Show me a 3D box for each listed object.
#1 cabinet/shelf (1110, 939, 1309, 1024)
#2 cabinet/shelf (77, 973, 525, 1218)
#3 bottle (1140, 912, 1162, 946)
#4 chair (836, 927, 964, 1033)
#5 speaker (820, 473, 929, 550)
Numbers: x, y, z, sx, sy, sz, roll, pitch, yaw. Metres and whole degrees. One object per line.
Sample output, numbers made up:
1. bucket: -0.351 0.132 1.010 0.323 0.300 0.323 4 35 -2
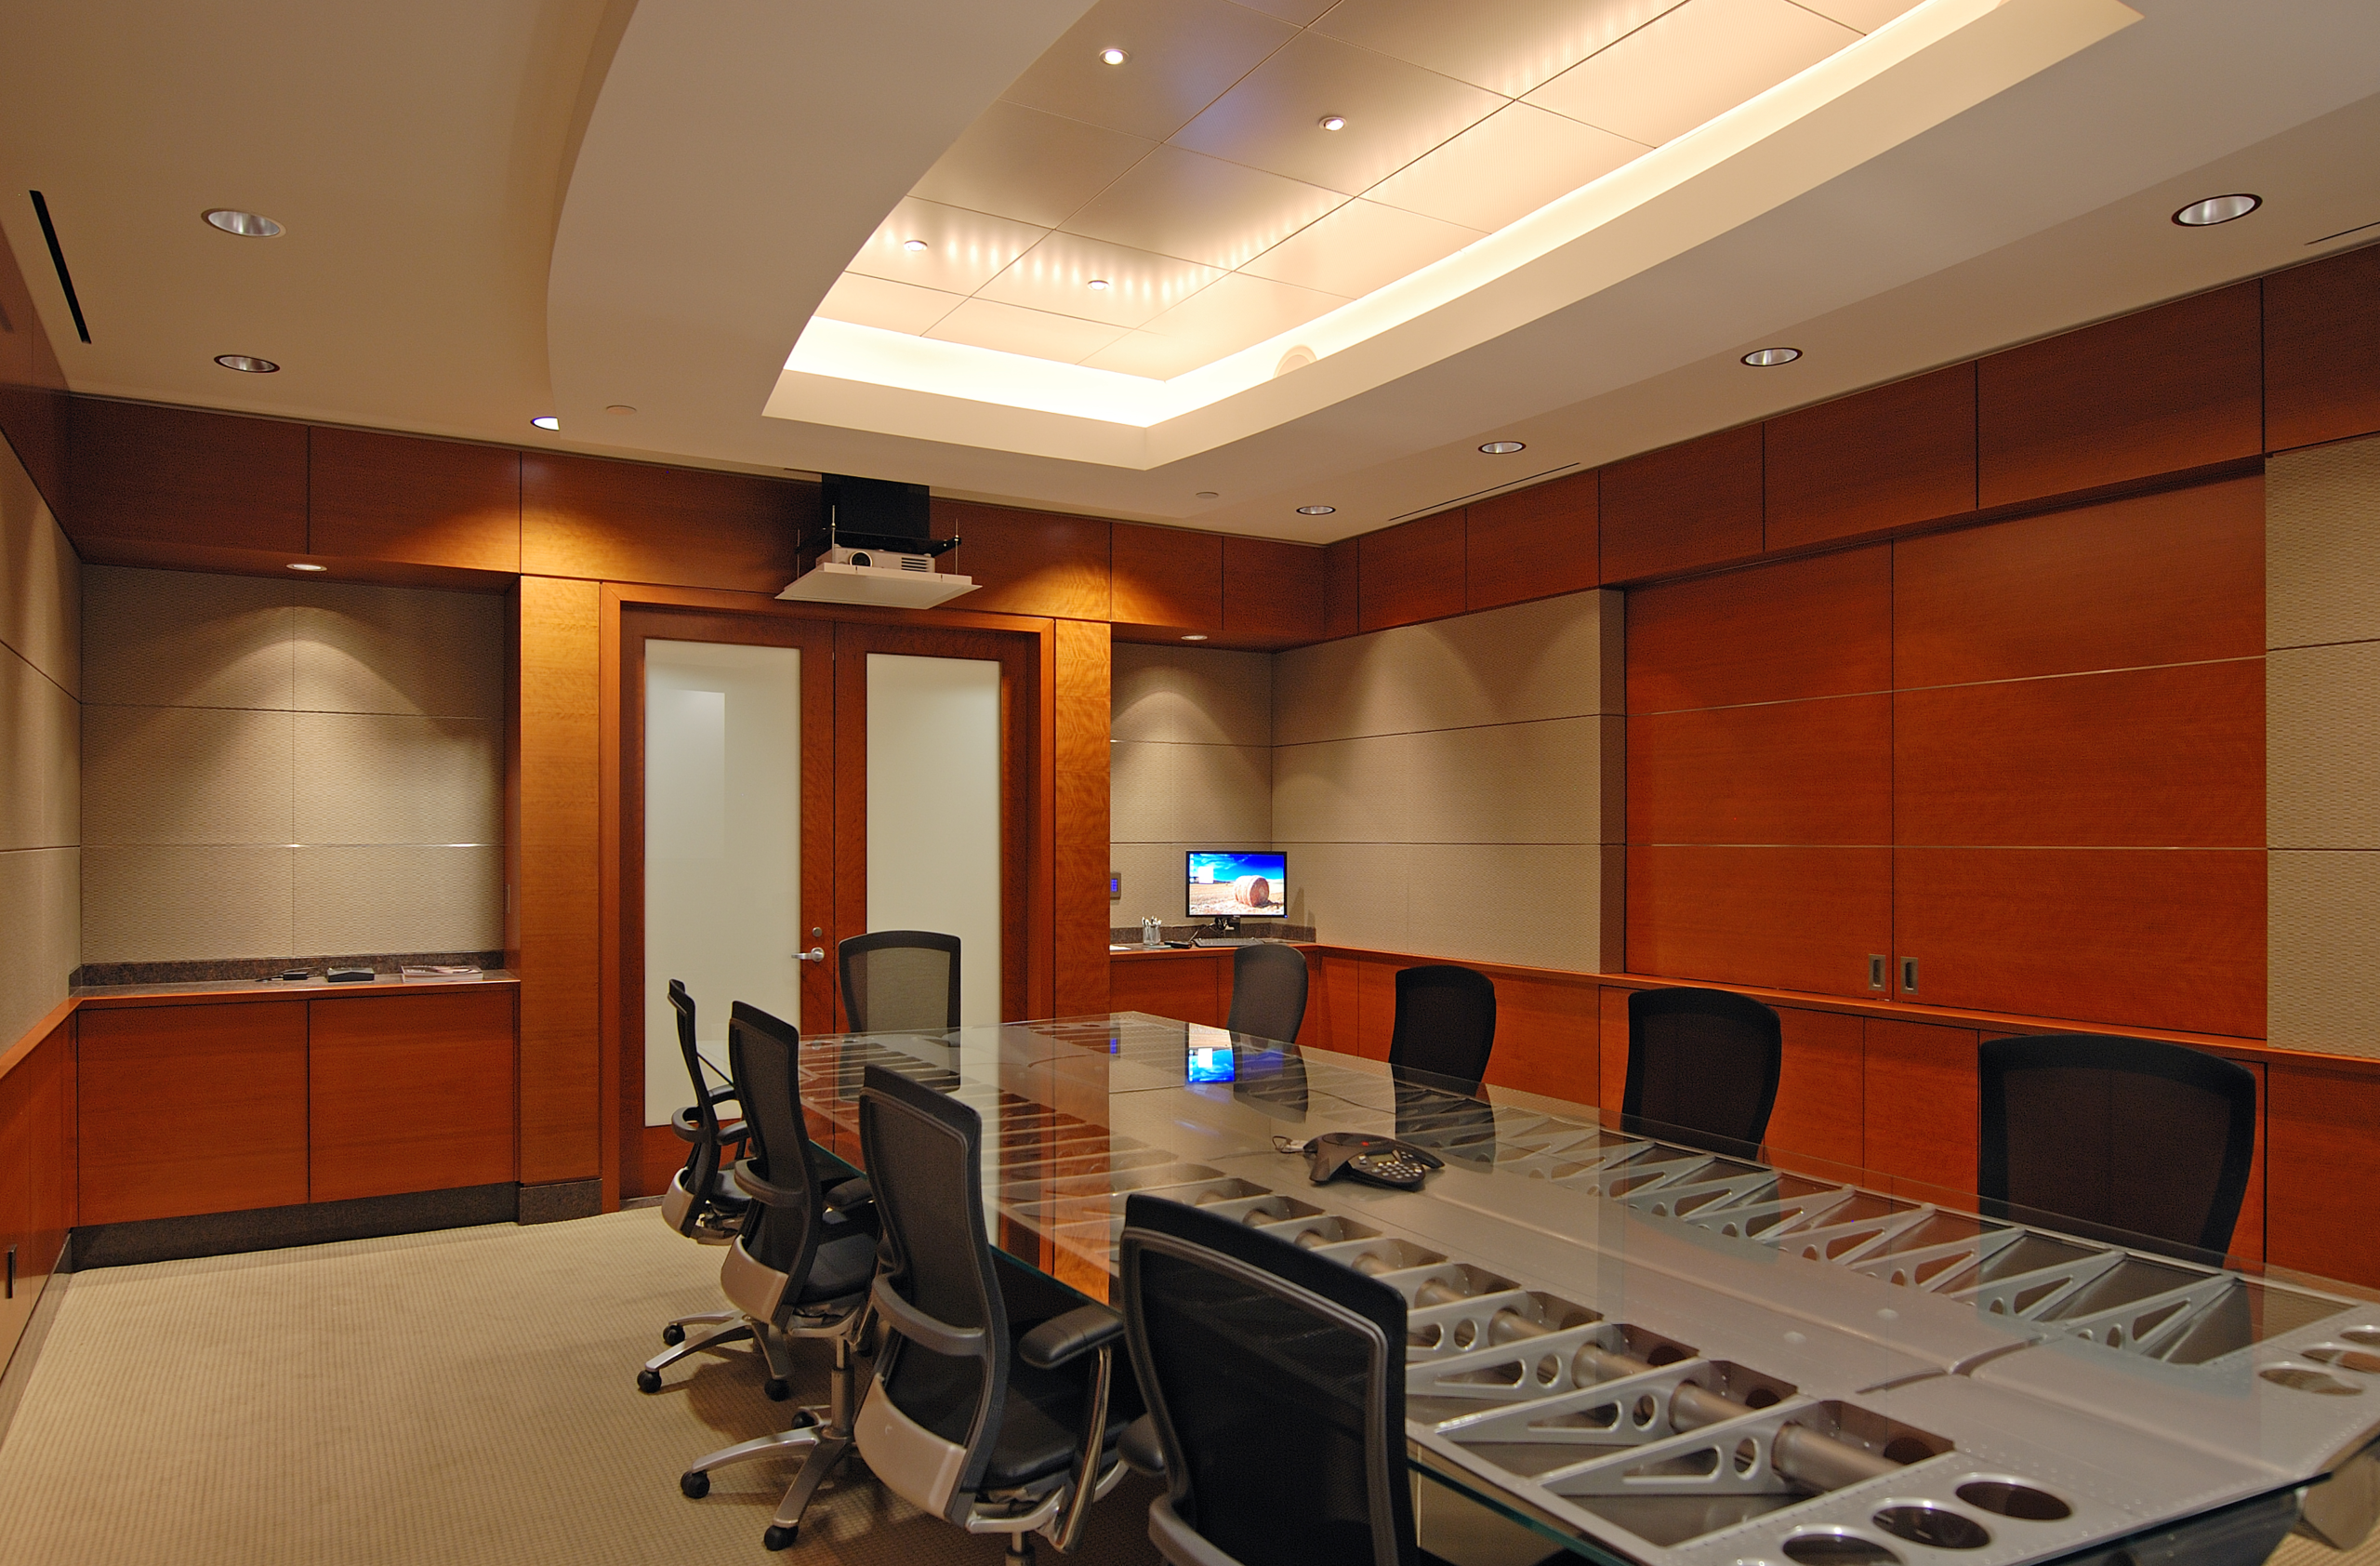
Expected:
1. cabinet/shelf: 0.079 1.150 8.604 0.745 0.363 0.206 2 -4 -26
2. cabinet/shelf: -4.385 1.515 7.296 1.387 0.738 0.419 3 -6 -25
3. bottle: -0.260 0.956 9.789 0.154 0.188 0.049 -2 -8 -5
4. chair: -1.415 0.956 7.404 0.528 0.628 0.542 1 -2 -21
5. speaker: -1.695 -1.435 8.007 0.487 0.384 0.212 4 -8 -29
